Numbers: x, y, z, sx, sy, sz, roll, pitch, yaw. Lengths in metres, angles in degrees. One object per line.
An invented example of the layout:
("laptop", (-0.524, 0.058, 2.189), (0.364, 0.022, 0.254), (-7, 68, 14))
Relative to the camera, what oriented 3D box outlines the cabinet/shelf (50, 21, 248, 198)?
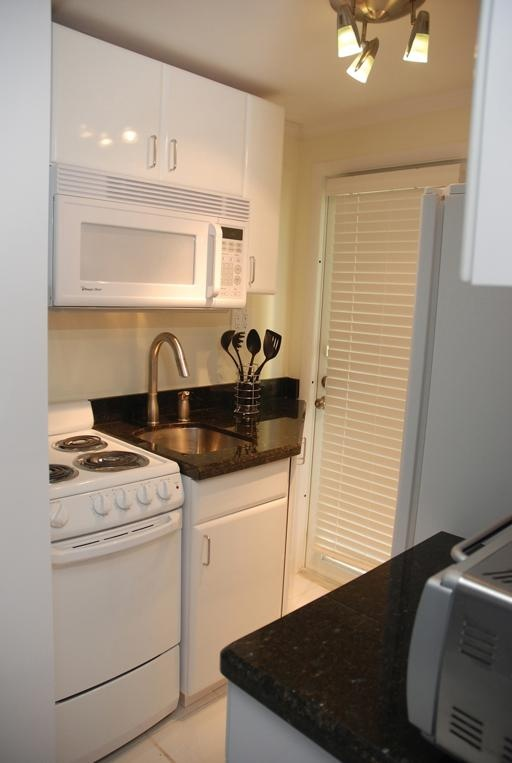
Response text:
("cabinet/shelf", (-0.331, -0.938, 1.991), (0.573, 0.309, 0.206), (-2, 52, -11))
